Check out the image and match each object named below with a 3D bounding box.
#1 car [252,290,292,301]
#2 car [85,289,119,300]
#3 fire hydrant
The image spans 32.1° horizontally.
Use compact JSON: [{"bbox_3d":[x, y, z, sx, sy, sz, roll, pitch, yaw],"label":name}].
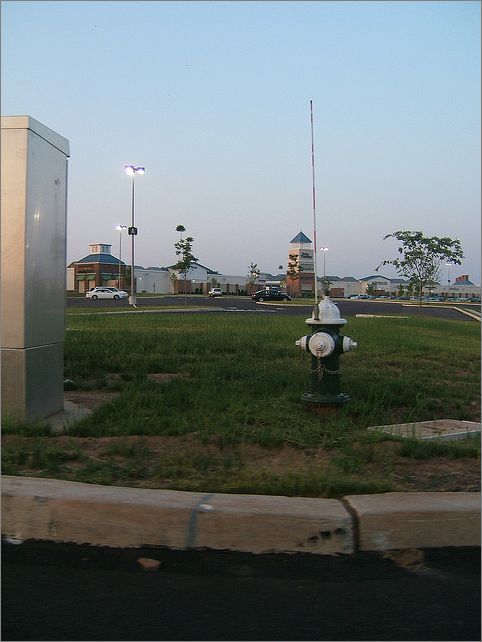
[{"bbox_3d":[2.580,-1.705,64.741,2.849,0.797,1.197,-3,10,-16],"label":"car"},{"bbox_3d":[-10.078,-1.677,61.873,2.473,0.654,1.150,-3,12,-14],"label":"car"},{"bbox_3d":[0.695,0.274,6.855,0.482,0.892,0.462,2,13,3],"label":"fire hydrant"}]
